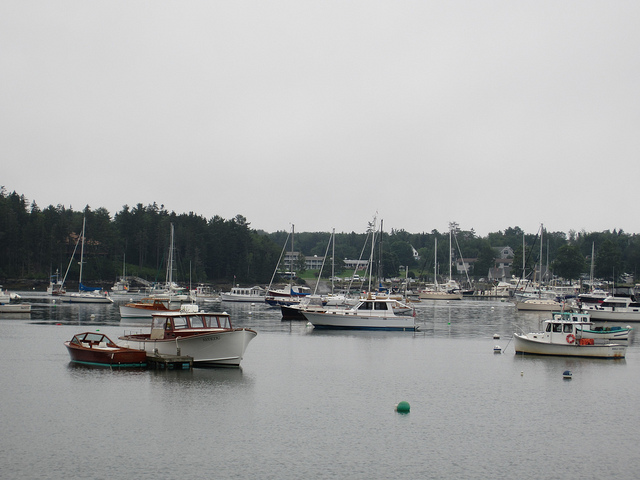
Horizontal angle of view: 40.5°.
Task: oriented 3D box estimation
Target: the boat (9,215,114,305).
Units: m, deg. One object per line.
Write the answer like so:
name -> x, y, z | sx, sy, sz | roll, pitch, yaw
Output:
boat -> -41.086, 3.729, 143.101 | 13.561, 14.399, 3.391 | -1, -13, 4

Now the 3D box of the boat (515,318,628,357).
boat -> 20.121, 8.519, 71.525 | 8.430, 3.184, 9.022 | -6, 0, 30

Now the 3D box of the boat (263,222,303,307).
boat -> -8.880, 6.635, 208.138 | 4.278, 17.508, 4.379 | 0, 2, -30
